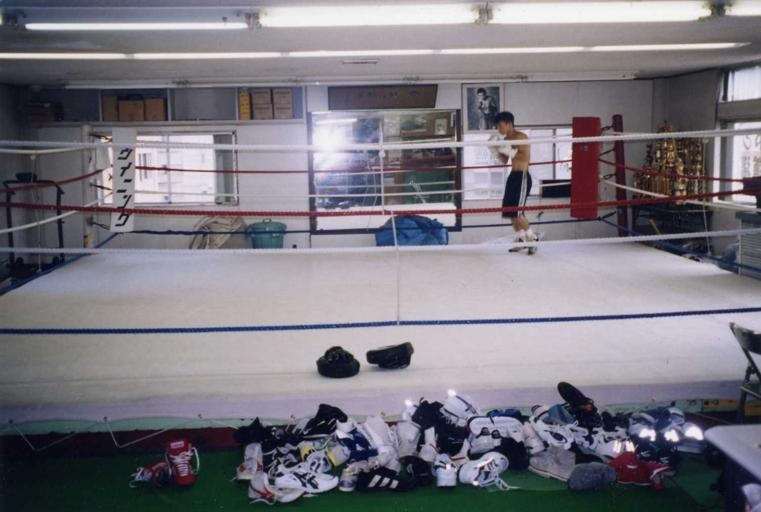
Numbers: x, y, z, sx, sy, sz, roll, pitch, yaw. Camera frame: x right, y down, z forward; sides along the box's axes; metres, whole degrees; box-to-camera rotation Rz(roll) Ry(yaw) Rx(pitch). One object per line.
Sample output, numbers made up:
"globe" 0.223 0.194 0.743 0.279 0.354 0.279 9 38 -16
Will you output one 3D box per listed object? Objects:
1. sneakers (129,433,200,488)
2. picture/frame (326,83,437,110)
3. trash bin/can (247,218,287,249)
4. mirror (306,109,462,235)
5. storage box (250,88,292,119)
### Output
"sneakers" -1.530 1.537 5.499 0.479 0.259 0.228 -17 -10 -26
"picture/frame" 0.002 -2.138 10.167 1.415 0.331 0.149 0 10 2
"trash bin/can" -1.494 -0.282 10.027 0.531 0.384 0.653 -2 10 -8
"mirror" 0.010 -1.173 10.067 1.770 1.342 0.069 -1 1 -2
"storage box" -1.444 -2.023 10.085 0.664 0.455 0.364 0 7 -5
